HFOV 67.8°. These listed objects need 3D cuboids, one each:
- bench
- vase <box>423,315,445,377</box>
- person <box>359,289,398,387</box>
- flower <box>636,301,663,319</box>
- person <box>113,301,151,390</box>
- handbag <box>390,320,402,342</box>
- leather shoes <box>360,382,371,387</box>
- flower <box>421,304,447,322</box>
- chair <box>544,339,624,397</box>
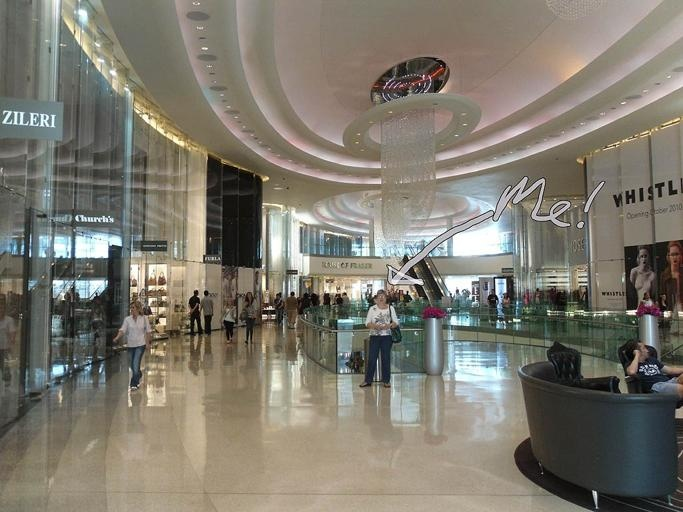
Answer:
[{"bbox_3d":[2.523,1.718,5.158,0.971,1.238,1.827,-8,2,-21],"label":"bench"},{"bbox_3d":[1.861,1.806,10.222,0.354,1.158,0.273,1,-4,2],"label":"vase"},{"bbox_3d":[0.680,1.481,9.124,0.629,1.745,0.434,1,-4,2],"label":"person"},{"bbox_3d":[6.469,1.123,10.707,0.385,0.287,0.403,0,-2,26],"label":"flower"},{"bbox_3d":[-3.994,1.613,9.694,0.573,1.569,1.495,2,-4,-23],"label":"person"},{"bbox_3d":[0.984,1.366,9.114,0.154,0.317,0.327,0,-4,13],"label":"handbag"},{"bbox_3d":[0.435,2.332,9.243,0.188,0.082,0.071,5,-7,-2],"label":"leather shoes"},{"bbox_3d":[1.851,1.145,10.177,0.441,0.264,0.352,-1,-4,19],"label":"flower"},{"bbox_3d":[3.158,1.616,6.667,0.635,0.898,0.719,3,-12,-37],"label":"chair"}]
